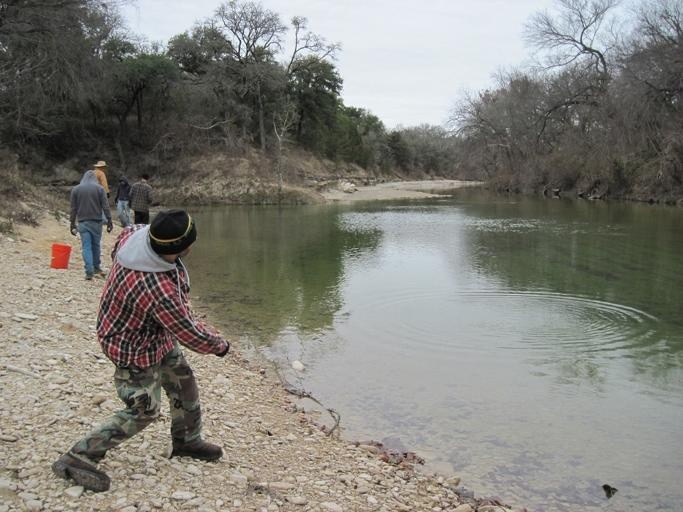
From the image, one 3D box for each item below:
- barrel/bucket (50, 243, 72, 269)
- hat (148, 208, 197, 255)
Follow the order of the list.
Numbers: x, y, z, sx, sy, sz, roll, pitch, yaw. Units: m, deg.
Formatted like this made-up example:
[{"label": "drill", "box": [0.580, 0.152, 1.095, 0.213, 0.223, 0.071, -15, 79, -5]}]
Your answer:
[{"label": "barrel/bucket", "box": [-6.837, 0.007, 14.322, 0.508, 0.663, 0.361, 7, -19, -34]}, {"label": "hat", "box": [-1.943, -0.276, 6.762, 0.512, 0.506, 0.272, -5, 13, -18]}]
